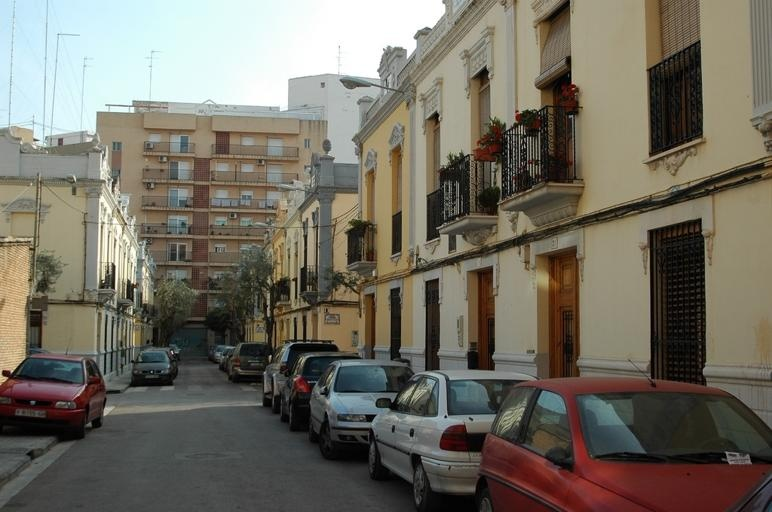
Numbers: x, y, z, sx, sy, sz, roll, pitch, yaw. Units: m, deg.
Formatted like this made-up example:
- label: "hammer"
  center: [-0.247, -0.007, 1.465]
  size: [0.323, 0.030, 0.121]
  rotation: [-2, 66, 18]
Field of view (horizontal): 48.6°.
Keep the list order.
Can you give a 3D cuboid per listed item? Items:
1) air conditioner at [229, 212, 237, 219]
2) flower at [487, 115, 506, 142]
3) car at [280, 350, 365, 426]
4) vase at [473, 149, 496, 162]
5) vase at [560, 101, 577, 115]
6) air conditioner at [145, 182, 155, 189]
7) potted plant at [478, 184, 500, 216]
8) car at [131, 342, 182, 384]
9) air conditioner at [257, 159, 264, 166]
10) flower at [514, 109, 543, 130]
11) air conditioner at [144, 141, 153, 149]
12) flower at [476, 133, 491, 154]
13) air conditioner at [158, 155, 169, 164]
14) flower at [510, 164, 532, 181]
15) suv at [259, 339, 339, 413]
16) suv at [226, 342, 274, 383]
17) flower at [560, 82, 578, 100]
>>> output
- label: "air conditioner"
  center: [-15.225, -3.928, 83.979]
  size: [0.929, 0.974, 0.533]
  rotation: [0, -8, -5]
- label: "flower"
  center: [2.495, -2.874, 19.556]
  size: [0.493, 0.669, 0.497]
  rotation: [4, 5, 40]
- label: "car"
  center: [-1.998, 3.300, 21.784]
  size: [1.263, 1.302, 2.807]
  rotation: [1, -1, -8]
- label: "vase"
  center: [2.228, -2.287, 19.619]
  size: [0.378, 0.283, 0.292]
  rotation: [1, -6, -9]
- label: "vase"
  center: [3.638, -2.976, 17.117]
  size: [0.301, 0.258, 0.250]
  rotation: [-2, -2, 23]
- label: "air conditioner"
  center: [-22.956, -6.530, 82.519]
  size: [0.932, 1.001, 0.504]
  rotation: [0, -5, -4]
- label: "potted plant"
  center: [2.398, -1.327, 20.222]
  size: [0.546, 0.641, 0.586]
  rotation: [-1, -1, 7]
- label: "car"
  center: [-10.943, 5.181, 40.129]
  size: [1.857, 1.776, 2.903]
  rotation: [5, -9, -13]
- label: "air conditioner"
  center: [-12.518, -9.166, 84.518]
  size: [0.863, 0.873, 0.503]
  rotation: [0, -3, -6]
- label: "flower"
  center: [2.961, -2.799, 17.808]
  size: [0.458, 0.356, 0.464]
  rotation: [2, 0, -38]
- label: "air conditioner"
  center: [-22.877, -10.699, 82.039]
  size: [0.986, 1.038, 0.491]
  rotation: [0, 2, -2]
- label: "flower"
  center: [2.220, -2.563, 19.665]
  size: [0.364, 0.337, 0.383]
  rotation: [1, -3, 2]
- label: "air conditioner"
  center: [-21.692, -9.257, 82.755]
  size: [0.570, 0.630, 0.566]
  rotation: [1, -1, -7]
- label: "flower"
  center: [2.855, -1.748, 18.017]
  size: [0.230, 0.339, 0.436]
  rotation: [3, -4, -10]
- label: "suv"
  center: [-2.949, 3.416, 26.093]
  size: [1.440, 1.433, 3.211]
  rotation: [1, -2, -9]
- label: "suv"
  center: [-6.783, 5.138, 41.777]
  size: [1.711, 1.649, 3.282]
  rotation: [1, 0, -10]
- label: "flower"
  center: [3.634, -3.289, 17.122]
  size: [0.225, 0.292, 0.428]
  rotation: [8, -10, -33]
